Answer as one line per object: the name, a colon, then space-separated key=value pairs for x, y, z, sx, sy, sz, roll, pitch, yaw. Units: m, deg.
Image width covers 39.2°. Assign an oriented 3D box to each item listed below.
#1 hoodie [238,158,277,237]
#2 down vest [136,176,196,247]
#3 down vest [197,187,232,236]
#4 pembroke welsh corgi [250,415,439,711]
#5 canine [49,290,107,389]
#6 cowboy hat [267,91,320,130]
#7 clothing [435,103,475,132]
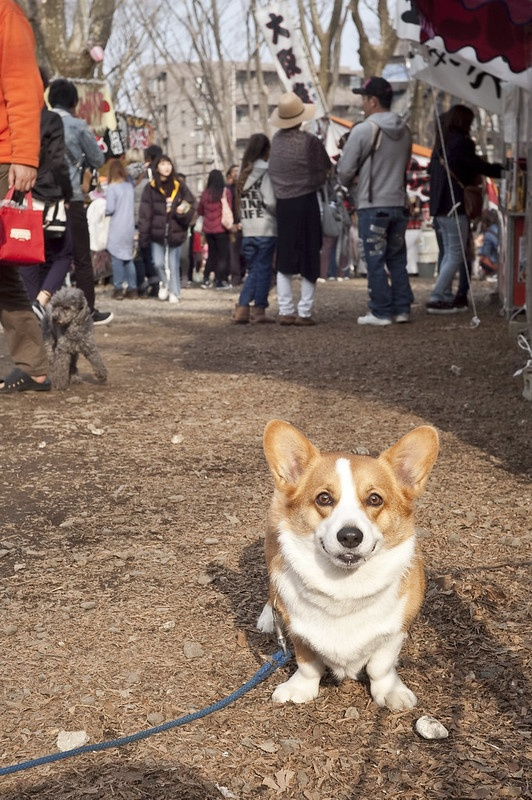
hoodie: x=-0.079 y=-2.329 z=8.646 sx=0.376 sy=0.895 sz=0.352 roll=2 pitch=19 yaw=-1
down vest: x=-1.534 y=-2.911 z=11.596 sx=0.698 sy=1.170 sz=0.717 roll=-11 pitch=25 yaw=-33
down vest: x=-0.927 y=-3.430 z=13.468 sx=0.610 sy=0.811 sz=0.481 roll=-1 pitch=6 yaw=6
pembroke welsh corgi: x=0.163 y=0.401 z=2.173 sx=0.438 sy=0.653 sz=0.872 roll=1 pitch=5 yaw=3
canine: x=-1.431 y=-0.461 z=5.649 sx=0.429 sy=0.772 sz=0.515 roll=-3 pitch=7 yaw=-16
cowboy hat: x=0.323 y=-3.174 z=8.199 sx=0.470 sy=0.436 sz=0.400 roll=-3 pitch=6 yaw=-17
clothing: x=2.138 y=-3.086 z=8.257 sx=0.272 sy=0.315 sz=0.351 roll=-1 pitch=6 yaw=8
